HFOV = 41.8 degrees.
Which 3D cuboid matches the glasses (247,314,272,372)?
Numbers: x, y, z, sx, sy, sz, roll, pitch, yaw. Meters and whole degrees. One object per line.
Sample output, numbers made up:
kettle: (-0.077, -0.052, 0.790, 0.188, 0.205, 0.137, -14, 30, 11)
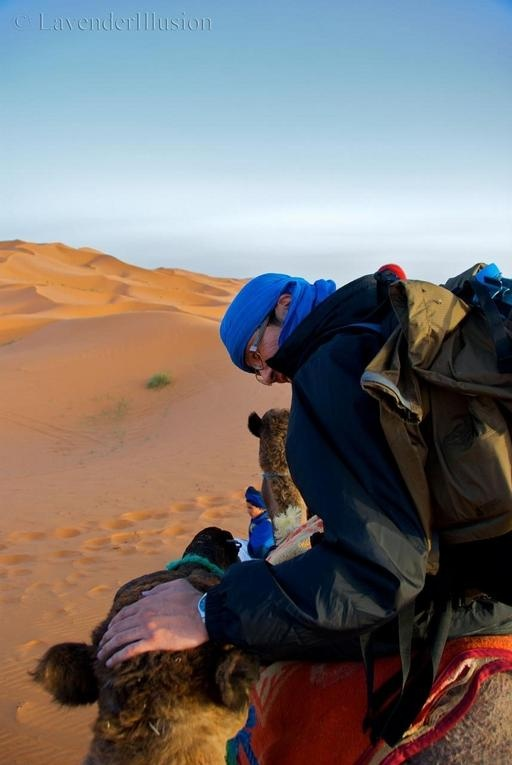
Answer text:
glasses: (0.014, -0.131, 2.323, 0.054, 0.164, 0.161, 13, -27, 5)
